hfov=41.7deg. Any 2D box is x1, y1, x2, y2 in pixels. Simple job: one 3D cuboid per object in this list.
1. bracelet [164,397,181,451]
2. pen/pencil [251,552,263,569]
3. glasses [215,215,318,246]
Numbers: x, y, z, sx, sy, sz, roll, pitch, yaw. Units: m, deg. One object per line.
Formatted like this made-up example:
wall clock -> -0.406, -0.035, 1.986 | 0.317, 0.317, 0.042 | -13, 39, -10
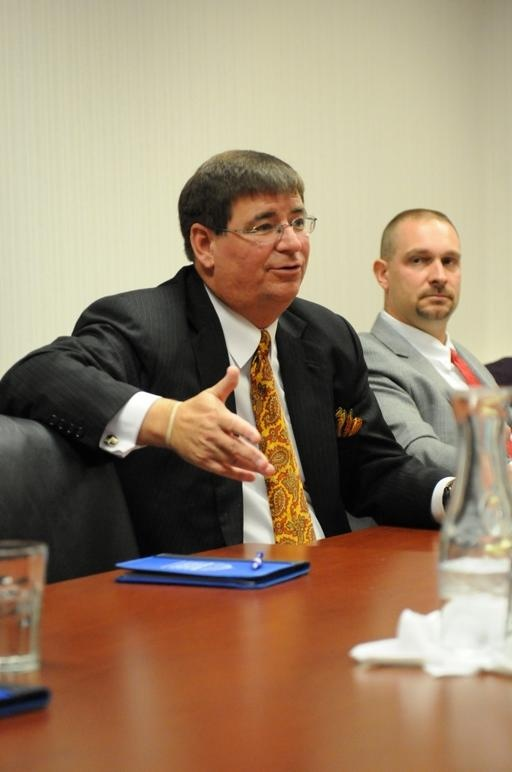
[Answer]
bracelet -> -0.139, 0.066, 1.133 | 0.029, 0.077, 0.039 | -1, -5, -14
pen/pencil -> 0.001, 0.226, 0.858 | 0.008, 0.009, 0.030 | -3, 6, 9
glasses -> 0.013, -0.367, 1.585 | 0.097, 0.026, 0.095 | -6, -5, -43
